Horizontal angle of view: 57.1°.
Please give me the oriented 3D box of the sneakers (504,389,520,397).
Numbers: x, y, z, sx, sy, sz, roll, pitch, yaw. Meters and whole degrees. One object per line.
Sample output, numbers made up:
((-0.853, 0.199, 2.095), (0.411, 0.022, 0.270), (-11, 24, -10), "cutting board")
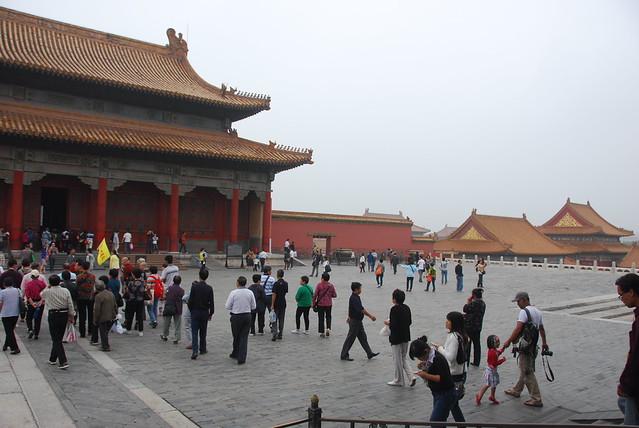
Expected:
((4.834, 4.499, 14.779), (0.360, 0.133, 0.128), (9, -2, 36), "sneakers")

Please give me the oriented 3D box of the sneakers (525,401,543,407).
((5.209, 4.618, 14.317), (0.399, 0.136, 0.155), (2, -6, 14), "sneakers")

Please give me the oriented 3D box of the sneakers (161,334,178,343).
((-4.534, 3.745, 17.678), (0.426, 0.170, 0.126), (22, -5, 11), "sneakers")

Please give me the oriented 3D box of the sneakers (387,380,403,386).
((1.922, 4.307, 15.073), (0.402, 0.160, 0.138), (2, 0, 20), "sneakers")

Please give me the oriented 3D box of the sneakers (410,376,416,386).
((2.379, 4.259, 15.015), (0.132, 0.260, 0.114), (6, 7, -20), "sneakers")

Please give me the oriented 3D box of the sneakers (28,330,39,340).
((-8.386, 3.568, 17.238), (0.154, 0.255, 0.461), (-1, -5, -40), "sneakers")

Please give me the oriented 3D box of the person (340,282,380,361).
((1.138, 3.013, 16.607), (0.987, 2.176, 1.478), (3, 8, 5), "person")

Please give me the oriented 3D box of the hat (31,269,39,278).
((-8.370, 1.735, 17.286), (0.171, 0.166, 0.217), (1, 4, -11), "hat")

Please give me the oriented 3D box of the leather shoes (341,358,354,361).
((0.767, 4.049, 16.484), (0.315, 0.118, 0.113), (-2, -5, 8), "leather shoes")

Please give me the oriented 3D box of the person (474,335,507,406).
((4.228, 3.800, 14.526), (0.598, 1.628, 0.877), (5, 9, 18), "person")

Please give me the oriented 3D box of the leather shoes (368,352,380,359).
((1.530, 4.007, 16.653), (0.303, 0.123, 0.094), (-24, 16, -10), "leather shoes")

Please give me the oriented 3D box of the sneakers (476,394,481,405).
((3.893, 4.539, 14.391), (0.097, 0.247, 0.092), (0, -8, 1), "sneakers")

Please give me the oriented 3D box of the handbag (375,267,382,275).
((2.836, 2.723, 28.098), (0.277, 0.351, 0.376), (-1, -1, 2), "handbag")

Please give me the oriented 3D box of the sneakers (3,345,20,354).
((-8.471, 3.718, 16.109), (0.610, 0.228, 0.200), (0, 0, 15), "sneakers")

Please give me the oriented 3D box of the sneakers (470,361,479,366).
((4.298, 4.153, 16.301), (0.224, 0.090, 0.081), (15, 0, 41), "sneakers")

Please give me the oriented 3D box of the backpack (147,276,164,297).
((-5.148, 2.269, 18.420), (0.464, 0.779, 0.649), (-3, 4, 3), "backpack")

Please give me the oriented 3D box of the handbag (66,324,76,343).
((-6.812, 3.223, 16.023), (0.272, 0.543, 0.314), (-3, 10, -28), "handbag")
